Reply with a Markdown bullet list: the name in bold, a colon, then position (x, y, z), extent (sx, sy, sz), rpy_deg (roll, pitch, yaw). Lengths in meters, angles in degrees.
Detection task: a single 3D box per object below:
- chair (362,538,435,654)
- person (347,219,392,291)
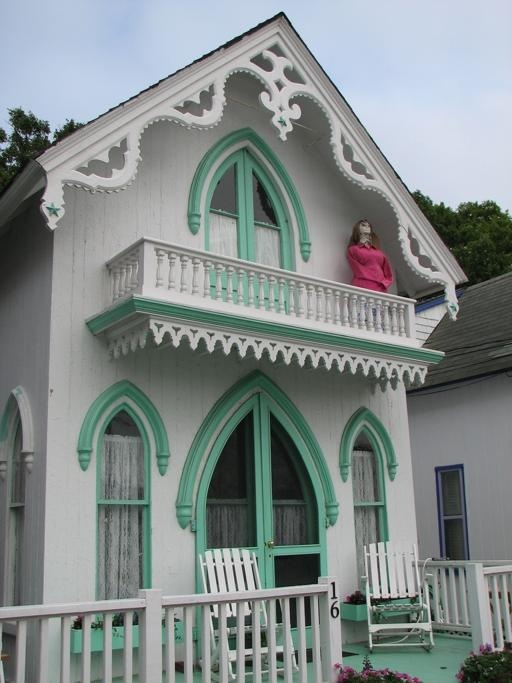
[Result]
- **chair**: position (1.585, 2.845, 9.965), extent (0.760, 1.152, 1.953), rpy_deg (-3, -14, 10)
- **person**: position (1.464, -0.959, 11.307), extent (0.545, 1.490, 0.389), rpy_deg (7, -31, -9)
